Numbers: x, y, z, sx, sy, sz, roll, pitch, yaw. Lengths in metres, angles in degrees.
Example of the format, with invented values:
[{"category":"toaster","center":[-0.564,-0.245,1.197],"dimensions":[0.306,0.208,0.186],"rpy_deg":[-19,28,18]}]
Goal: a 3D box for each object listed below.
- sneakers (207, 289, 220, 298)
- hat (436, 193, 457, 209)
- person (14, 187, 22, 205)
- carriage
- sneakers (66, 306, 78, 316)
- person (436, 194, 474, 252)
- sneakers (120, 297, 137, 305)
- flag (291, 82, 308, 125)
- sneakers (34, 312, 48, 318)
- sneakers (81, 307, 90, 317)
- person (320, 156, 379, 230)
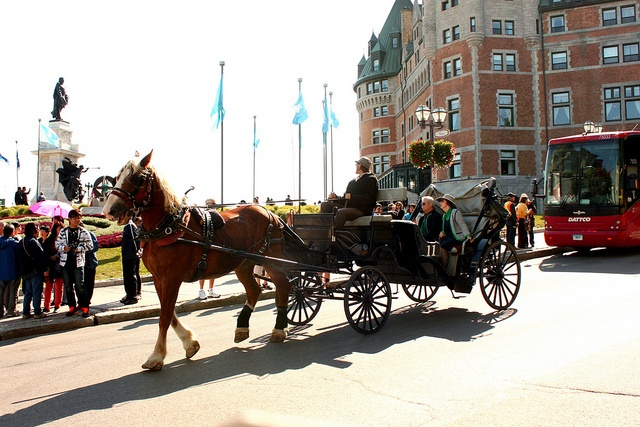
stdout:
[{"category":"sneakers","center":[-2.844,2.133,17.369],"dimensions":[0.415,0.266,0.140],"rpy_deg":[3,6,-17]},{"category":"hat","center":[3.236,-0.342,15.937],"dimensions":[0.363,0.157,0.405],"rpy_deg":[14,-14,37]},{"category":"person","center":[-18.660,-1.027,40.269],"dimensions":[0.329,0.906,0.434],"rpy_deg":[-9,12,-34]},{"category":"carriage","center":[0.656,1.437,15.786],"dimensions":[11.332,4.953,3.504],"rpy_deg":[5,-9,-34]},{"category":"sneakers","center":[-6.106,2.396,15.928],"dimensions":[0.295,0.159,0.295],"rpy_deg":[3,12,28]},{"category":"person","center":[3.091,0.188,15.595],"dimensions":[0.931,1.294,0.892],"rpy_deg":[-11,4,36]},{"category":"sneakers","center":[-5.005,2.303,17.104],"dimensions":[0.409,0.192,0.154],"rpy_deg":[3,-5,3]},{"category":"flag","center":[-1.303,-7.045,43.418],"dimensions":[0.856,2.267,2.061],"rpy_deg":[-3,10,-2]},{"category":"sneakers","center":[-6.857,2.481,16.001],"dimensions":[0.323,0.152,0.121],"rpy_deg":[-4,7,-34]},{"category":"sneakers","center":[-5.633,2.371,15.683],"dimensions":[0.183,0.339,0.220],"rpy_deg":[0,-3,1]},{"category":"person","center":[0.669,-0.292,15.044],"dimensions":[1.241,2.146,1.068],"rpy_deg":[6,-9,-7]}]
